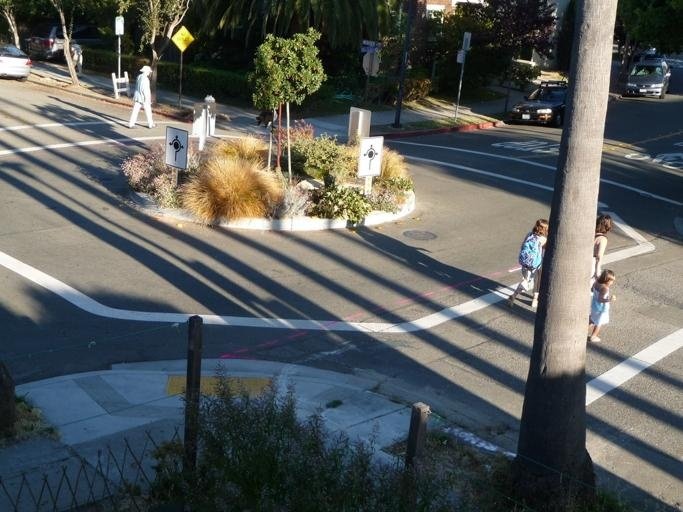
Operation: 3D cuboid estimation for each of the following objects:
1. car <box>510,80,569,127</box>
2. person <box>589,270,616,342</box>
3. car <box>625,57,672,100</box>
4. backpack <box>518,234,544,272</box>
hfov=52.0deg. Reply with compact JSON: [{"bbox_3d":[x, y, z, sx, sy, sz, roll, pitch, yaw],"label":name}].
[{"bbox_3d":[8.669,-6.492,30.399,1.920,1.677,2.539,10,19,19],"label":"car"},{"bbox_3d":[3.970,0.700,10.685,0.310,1.125,0.637,10,18,20],"label":"person"},{"bbox_3d":[17.421,-9.995,39.840,2.132,2.022,3.499,12,20,24],"label":"car"},{"bbox_3d":[3.178,-0.081,11.690,0.321,0.615,0.377,0,15,-31],"label":"backpack"}]
